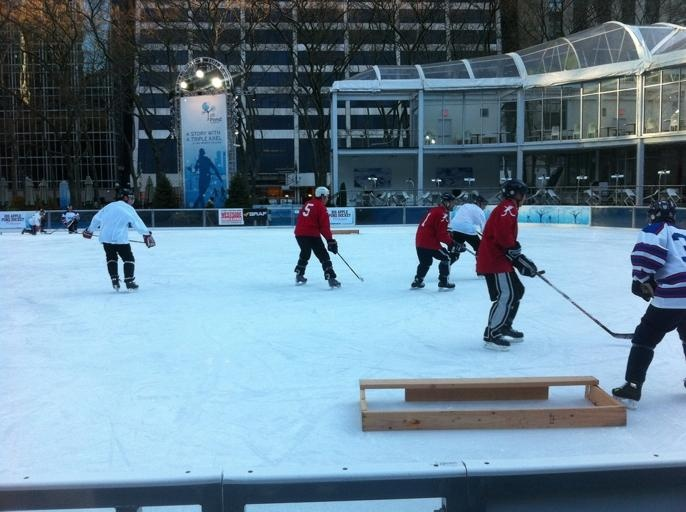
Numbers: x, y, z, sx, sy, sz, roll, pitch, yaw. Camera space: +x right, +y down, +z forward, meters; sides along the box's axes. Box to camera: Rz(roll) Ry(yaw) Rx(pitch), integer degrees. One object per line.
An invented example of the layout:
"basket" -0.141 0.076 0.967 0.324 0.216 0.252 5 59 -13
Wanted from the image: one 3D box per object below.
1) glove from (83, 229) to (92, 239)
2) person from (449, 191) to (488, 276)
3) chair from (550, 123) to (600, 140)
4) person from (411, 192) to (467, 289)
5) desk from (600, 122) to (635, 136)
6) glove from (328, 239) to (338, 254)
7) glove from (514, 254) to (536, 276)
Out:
"glove" -6.310 -0.549 23.363 0.252 0.243 0.329 1 2 -27
"person" 3.188 -0.636 23.578 0.704 1.919 0.812 -3 7 -21
"chair" 11.492 -6.091 46.363 0.492 0.676 2.647 -6 10 -31
"person" 2.216 -0.362 22.298 0.996 2.296 0.799 2 3 10
"desk" 13.085 -5.972 44.648 0.283 0.538 1.223 -6 6 -30
"glove" -0.220 -0.246 22.564 0.206 0.274 0.291 -2 10 -2
"glove" 3.602 0.174 18.337 0.417 0.446 0.255 0 8 8
